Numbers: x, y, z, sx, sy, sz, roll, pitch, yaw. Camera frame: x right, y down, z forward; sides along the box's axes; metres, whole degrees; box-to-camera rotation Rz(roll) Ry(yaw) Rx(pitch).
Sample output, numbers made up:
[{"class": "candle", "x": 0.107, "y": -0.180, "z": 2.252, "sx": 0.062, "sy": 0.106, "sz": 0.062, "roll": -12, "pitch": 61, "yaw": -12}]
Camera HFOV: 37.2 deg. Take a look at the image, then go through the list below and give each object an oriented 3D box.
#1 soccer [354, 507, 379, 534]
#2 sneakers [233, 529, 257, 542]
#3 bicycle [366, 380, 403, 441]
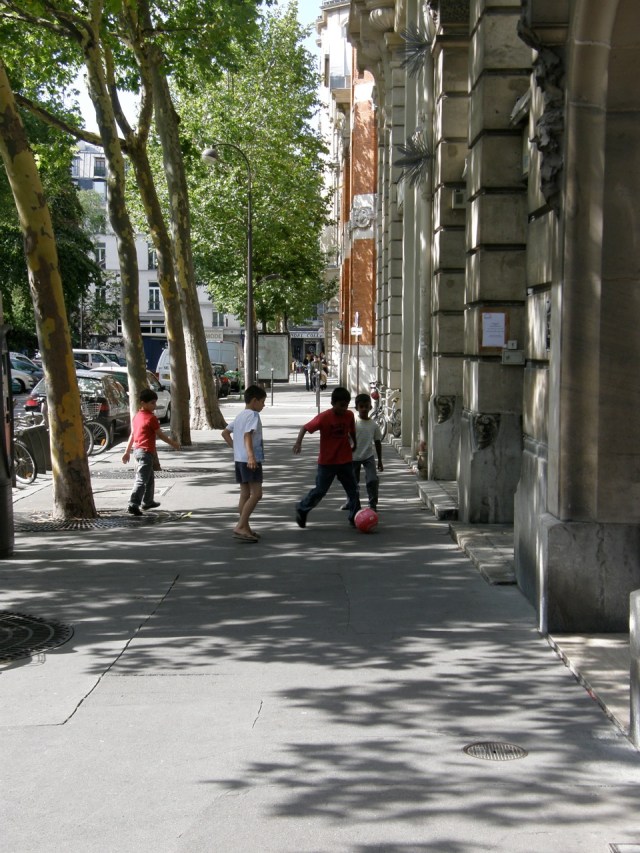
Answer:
[{"class": "soccer", "x": 0.510, "y": 1.036, "z": 10.637, "sx": 0.242, "sy": 0.307, "sz": 0.249, "roll": 1, "pitch": 1, "yaw": 26}, {"class": "sneakers", "x": -0.775, "y": 1.143, "z": 10.069, "sx": 0.275, "sy": 0.128, "sz": 0.103, "roll": 2, "pitch": 7, "yaw": 3}, {"class": "bicycle", "x": 1.664, "y": -0.444, "z": 22.926, "sx": 0.787, "sy": 1.050, "sz": 1.592, "roll": 1, "pitch": 12, "yaw": -4}]
